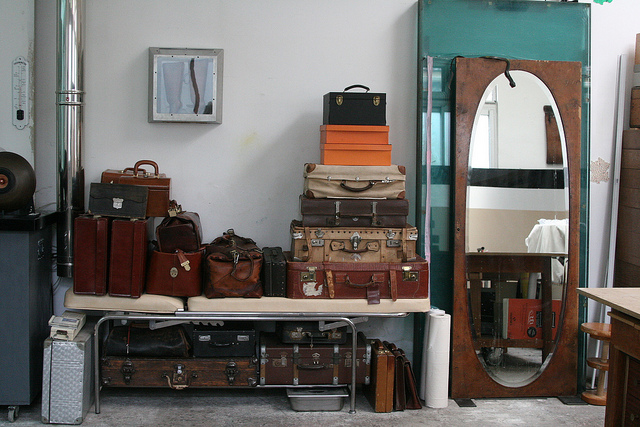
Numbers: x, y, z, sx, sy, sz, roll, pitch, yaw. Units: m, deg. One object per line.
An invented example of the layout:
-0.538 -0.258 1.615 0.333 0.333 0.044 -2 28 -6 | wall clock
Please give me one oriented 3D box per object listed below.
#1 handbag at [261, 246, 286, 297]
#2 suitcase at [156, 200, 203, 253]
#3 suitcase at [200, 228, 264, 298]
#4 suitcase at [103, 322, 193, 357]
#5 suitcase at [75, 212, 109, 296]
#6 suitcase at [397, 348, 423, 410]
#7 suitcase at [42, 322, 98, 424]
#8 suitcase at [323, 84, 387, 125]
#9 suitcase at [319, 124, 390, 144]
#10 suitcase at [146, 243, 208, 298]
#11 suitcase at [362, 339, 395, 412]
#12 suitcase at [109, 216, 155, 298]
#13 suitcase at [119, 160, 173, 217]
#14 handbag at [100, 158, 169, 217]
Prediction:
-0.425 0.518 5.948 0.200 0.345 0.569 0 11 -9 | handbag
-1.278 0.089 5.944 0.367 0.470 0.670 -9 7 -5 | suitcase
-0.815 0.435 6.015 0.586 0.458 0.960 2 7 -13 | suitcase
-1.519 1.123 5.721 0.480 0.153 0.394 2 -3 -3 | suitcase
-1.963 0.355 5.590 0.239 0.718 0.687 1 0 -9 | suitcase
0.815 1.553 6.101 0.215 0.512 0.527 -13 -2 -1 | suitcase
-2.138 1.384 5.553 0.429 0.802 0.816 1 -1 0 | suitcase
0.310 -0.980 5.947 0.558 0.388 0.432 -1 6 -11 | suitcase
0.323 -0.698 5.749 0.553 0.174 0.074 1 4 2 | suitcase
-1.241 0.465 5.772 0.462 0.368 0.480 1 1 20 | suitcase
0.524 1.468 5.821 0.185 0.573 0.579 0 3 -4 | suitcase
-1.706 0.327 5.936 0.280 0.707 0.780 4 13 -8 | suitcase
-1.464 -0.209 5.915 0.592 0.617 0.442 1 5 -2 | suitcase
-1.567 -0.260 5.745 0.551 0.409 0.564 2 6 -1 | handbag
